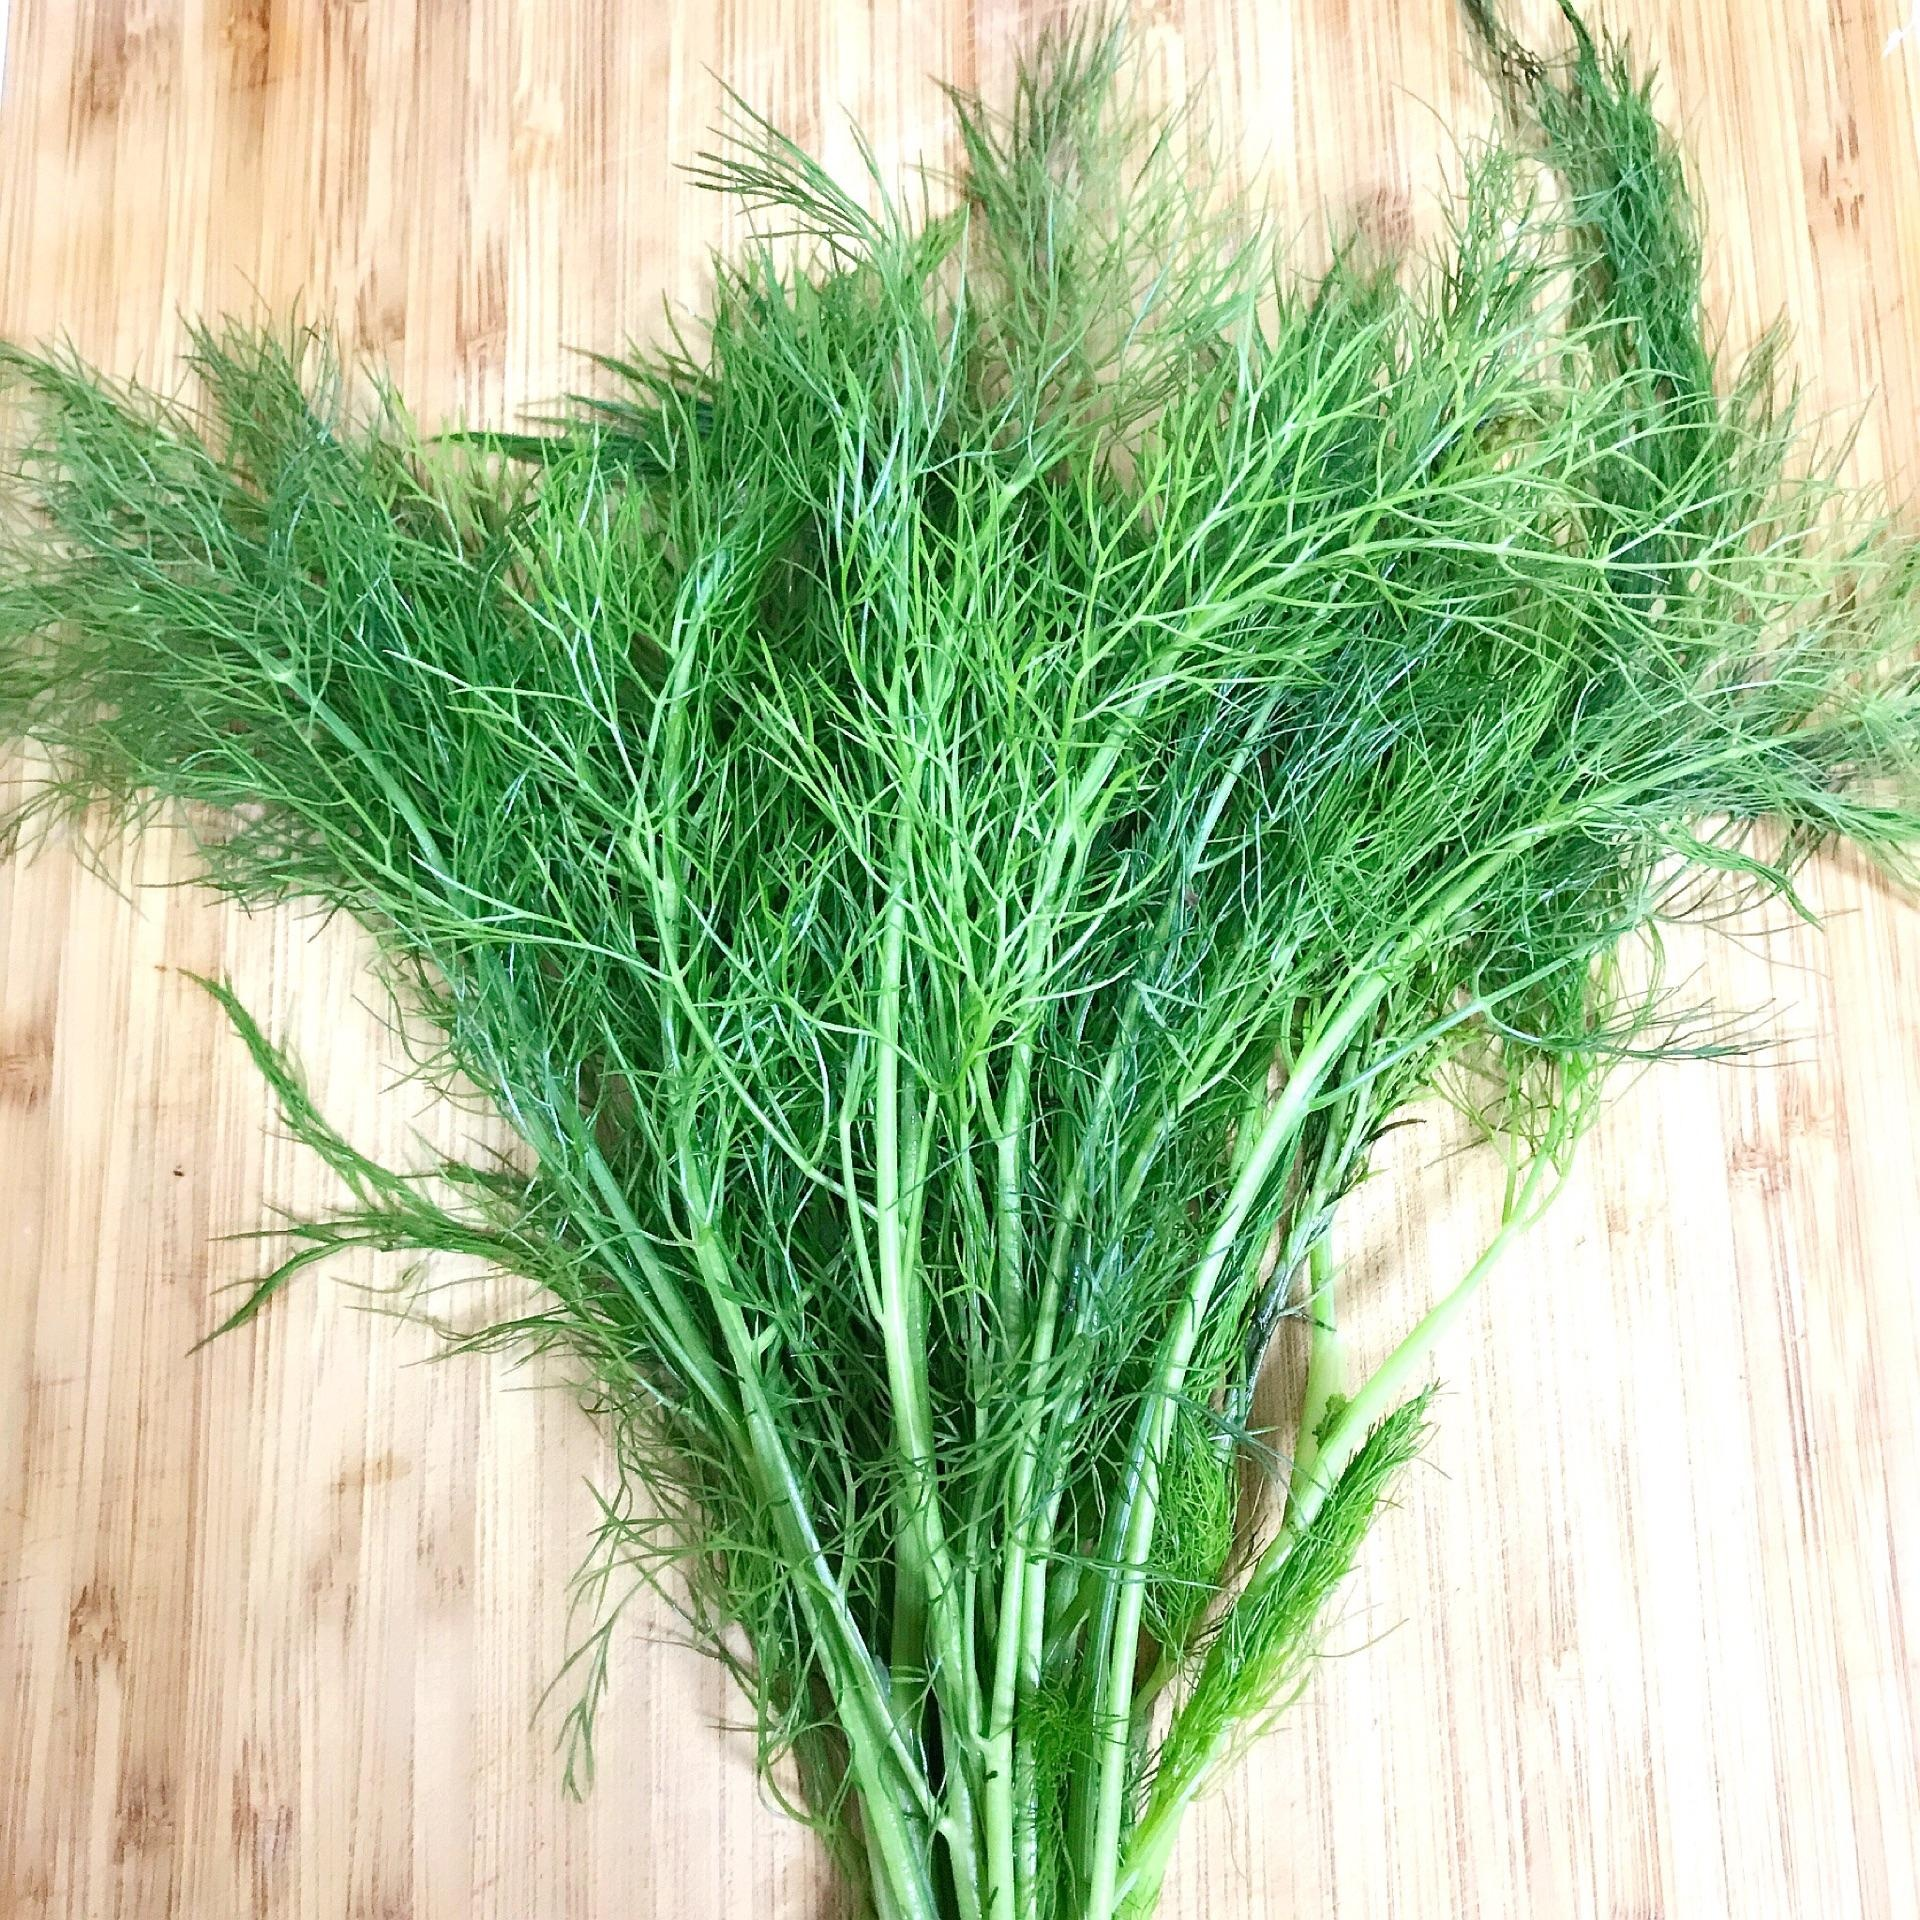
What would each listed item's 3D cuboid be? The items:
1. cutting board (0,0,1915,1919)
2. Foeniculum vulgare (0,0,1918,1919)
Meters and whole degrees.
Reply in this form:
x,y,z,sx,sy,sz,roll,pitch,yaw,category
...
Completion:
x,y,z,sx,sy,sz,roll,pitch,yaw,category
0.032,0.043,1.288,0.824,0.399,1.129,2,92,3,cutting board
0.033,0.043,1.288,0.823,0.403,1.132,2,91,3,Foeniculum vulgare
